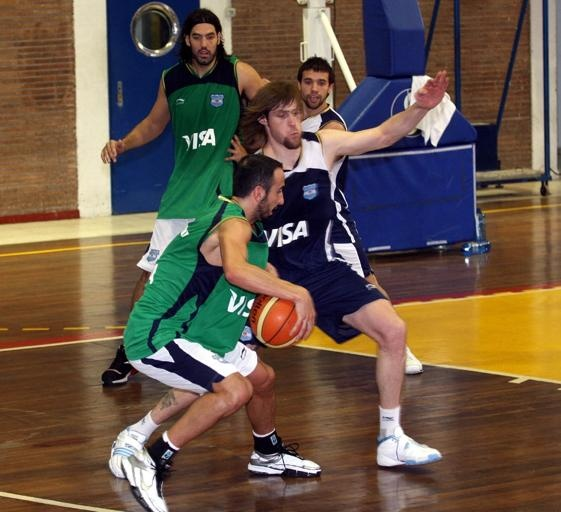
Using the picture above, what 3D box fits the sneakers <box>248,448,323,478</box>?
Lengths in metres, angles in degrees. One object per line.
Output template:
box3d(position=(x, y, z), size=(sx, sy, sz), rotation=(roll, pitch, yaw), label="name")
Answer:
box3d(position=(0.027, 0.883, 3.023), size=(0.327, 0.126, 0.118), rotation=(1, -4, 3), label="sneakers")

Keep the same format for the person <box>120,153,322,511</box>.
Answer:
box3d(position=(-0.258, 0.282, 2.755), size=(0.749, 1.346, 0.484), rotation=(-5, 11, -21), label="person")

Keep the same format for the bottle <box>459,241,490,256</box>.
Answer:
box3d(position=(2.227, -0.103, 7.931), size=(0.265, 0.138, 0.387), rotation=(5, 11, 29), label="bottle")

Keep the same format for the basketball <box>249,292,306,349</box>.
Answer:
box3d(position=(-0.025, 0.277, 2.855), size=(0.238, 0.237, 0.216), rotation=(-4, 32, -17), label="basketball")

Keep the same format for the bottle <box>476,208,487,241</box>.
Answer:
box3d(position=(2.384, -0.400, 8.253), size=(0.108, 0.385, 0.562), rotation=(2, 10, 16), label="bottle")

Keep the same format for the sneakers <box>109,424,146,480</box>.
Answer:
box3d(position=(-0.641, 0.814, 2.948), size=(0.126, 0.241, 0.116), rotation=(0, -13, 3), label="sneakers")

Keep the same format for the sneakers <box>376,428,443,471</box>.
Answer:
box3d(position=(0.551, 0.823, 2.988), size=(0.290, 0.142, 0.102), rotation=(-8, -11, 32), label="sneakers")
